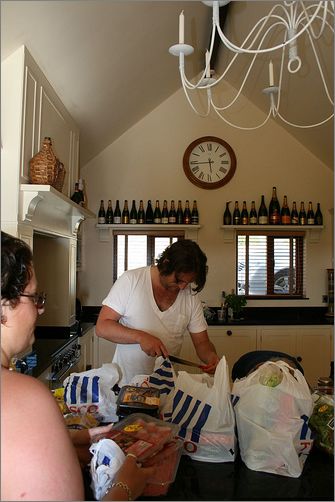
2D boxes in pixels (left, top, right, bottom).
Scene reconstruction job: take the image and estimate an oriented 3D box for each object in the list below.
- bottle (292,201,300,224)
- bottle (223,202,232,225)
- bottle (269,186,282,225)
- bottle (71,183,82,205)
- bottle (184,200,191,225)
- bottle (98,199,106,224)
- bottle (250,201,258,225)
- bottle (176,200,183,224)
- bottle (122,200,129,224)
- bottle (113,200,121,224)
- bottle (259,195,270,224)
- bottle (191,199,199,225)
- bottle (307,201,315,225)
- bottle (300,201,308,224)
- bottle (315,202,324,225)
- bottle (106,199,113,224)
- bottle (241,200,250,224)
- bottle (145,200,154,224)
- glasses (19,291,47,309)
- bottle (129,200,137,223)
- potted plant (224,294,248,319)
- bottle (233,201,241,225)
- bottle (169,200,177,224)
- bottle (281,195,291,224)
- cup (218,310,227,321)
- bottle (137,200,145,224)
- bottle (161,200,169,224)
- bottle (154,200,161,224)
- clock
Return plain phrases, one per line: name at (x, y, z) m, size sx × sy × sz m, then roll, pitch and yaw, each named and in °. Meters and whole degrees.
bottle at (1.488, -0.450, 4.610) m, size 0.083 × 0.291 × 0.186 m, roll -1°, pitch -4°, yaw 18°
bottle at (0.697, -0.453, 4.589) m, size 0.104 × 0.296 × 0.125 m, roll 0°, pitch -4°, yaw 4°
bottle at (1.253, -0.528, 4.610) m, size 0.128 × 0.448 × 0.167 m, roll -1°, pitch -5°, yaw 16°
bottle at (-0.833, -0.531, 3.618) m, size 0.101 × 0.220 × 0.208 m, roll 1°, pitch -4°, yaw -13°
bottle at (0.222, -0.442, 4.527) m, size 0.086 × 0.293 × 0.217 m, roll 0°, pitch -4°, yaw 2°
bottle at (-0.757, -0.459, 4.540) m, size 0.085 × 0.296 × 0.166 m, roll 1°, pitch -4°, yaw -13°
bottle at (0.994, -0.448, 4.574) m, size 0.094 × 0.293 × 0.180 m, roll -1°, pitch -4°, yaw 14°
bottle at (0.140, -0.455, 4.552) m, size 0.090 × 0.284 × 0.150 m, roll 0°, pitch -4°, yaw 1°
bottle at (-0.487, -0.459, 4.531) m, size 0.074 × 0.302 × 0.195 m, roll 1°, pitch -4°, yaw -6°
bottle at (-0.581, -0.458, 4.533) m, size 0.085 × 0.297 × 0.198 m, roll 1°, pitch -4°, yaw -9°
bottle at (1.108, -0.482, 4.589) m, size 0.113 × 0.360 × 0.177 m, roll -1°, pitch -4°, yaw 14°
bottle at (0.309, -0.464, 4.580) m, size 0.075 × 0.294 × 0.117 m, roll 0°, pitch -4°, yaw 3°
bottle at (1.684, -0.449, 4.639) m, size 0.088 × 0.283 × 0.167 m, roll -1°, pitch -5°, yaw 20°
bottle at (1.582, -0.448, 4.621) m, size 0.082 × 0.286 × 0.168 m, roll -1°, pitch -4°, yaw 19°
bottle at (1.777, -0.438, 4.637) m, size 0.080 × 0.290 × 0.196 m, roll -1°, pitch -5°, yaw 23°
bottle at (-0.674, -0.464, 4.567) m, size 0.080 × 0.288 × 0.131 m, roll 1°, pitch -4°, yaw -11°
bottle at (0.894, -0.452, 4.571) m, size 0.089 × 0.299 × 0.158 m, roll -1°, pitch -4°, yaw 13°
bottle at (-0.210, -0.458, 4.524) m, size 0.097 × 0.304 × 0.207 m, roll 1°, pitch -4°, yaw -4°
glasses at (-0.281, 0.100, 0.832) m, size 0.047 × 0.017 × 0.048 m, roll -1°, pitch -2°, yaw 0°
bottle at (-0.398, -0.457, 4.526) m, size 0.091 × 0.299 × 0.198 m, roll 1°, pitch -4°, yaw -7°
potted plant at (0.750, 0.618, 4.377) m, size 0.190 × 0.275 × 0.157 m, roll 3°, pitch -5°, yaw -28°
bottle at (0.797, -0.453, 4.585) m, size 0.074 × 0.298 × 0.144 m, roll 0°, pitch -4°, yaw 11°
bottle at (0.053, -0.451, 4.554) m, size 0.075 × 0.264 × 0.141 m, roll 0°, pitch -4°, yaw -1°
bottle at (1.382, -0.484, 4.611) m, size 0.112 × 0.355 × 0.148 m, roll -1°, pitch -5°, yaw 16°
cup at (0.596, 0.700, 4.359) m, size 0.100 × 0.188 × 0.105 m, roll 0°, pitch -3°, yaw 0°
bottle at (-0.299, -0.450, 4.524) m, size 0.075 × 0.285 × 0.191 m, roll 1°, pitch -4°, yaw -6°
bottle at (-0.038, -0.454, 4.527) m, size 0.073 × 0.291 × 0.182 m, roll 0°, pitch -4°, yaw -1°
bottle at (-0.117, -0.468, 4.566) m, size 0.082 × 0.284 × 0.136 m, roll 1°, pitch -4°, yaw -4°
clock at (0.492, -1.028, 4.657) m, size 0.579 × 0.632 × 0.060 m, roll 0°, pitch -5°, yaw -2°
